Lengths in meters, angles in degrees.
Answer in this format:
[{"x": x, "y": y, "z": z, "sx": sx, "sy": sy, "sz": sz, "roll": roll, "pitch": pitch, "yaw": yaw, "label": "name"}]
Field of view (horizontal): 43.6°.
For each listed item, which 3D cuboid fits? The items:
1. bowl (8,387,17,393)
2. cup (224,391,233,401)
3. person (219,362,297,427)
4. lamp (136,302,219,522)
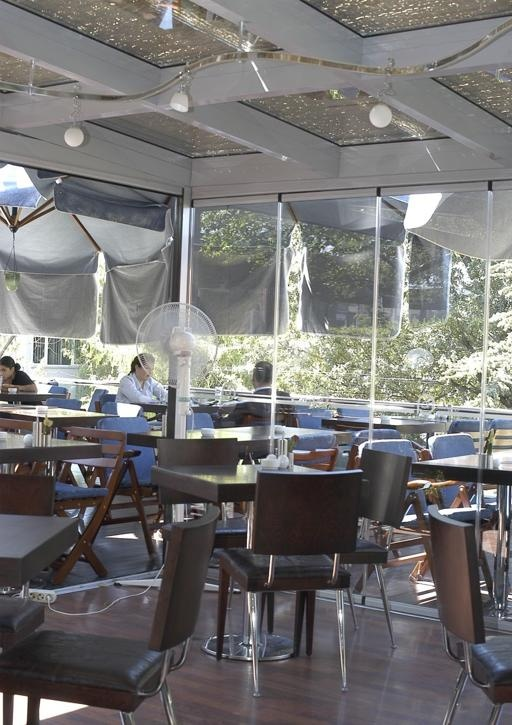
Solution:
[{"x": -2.701, "y": 0.314, "z": 7.107, "sx": 0.071, "sy": 0.047, "sz": 0.068, "roll": -1, "pitch": -6, "yaw": 0, "label": "bowl"}, {"x": -0.199, "y": 0.251, "z": 4.836, "sx": 0.078, "sy": 0.077, "sz": 0.058, "roll": 3, "pitch": -2, "yaw": -20, "label": "cup"}, {"x": 0.009, "y": 0.383, "z": 4.816, "sx": 0.249, "sy": 0.742, "sz": 0.442, "roll": 9, "pitch": 12, "yaw": 30, "label": "person"}, {"x": -0.580, "y": 0.162, "z": 4.663, "sx": 0.638, "sy": 1.430, "sz": 0.577, "roll": -20, "pitch": 35, "yaw": -36, "label": "lamp"}]
